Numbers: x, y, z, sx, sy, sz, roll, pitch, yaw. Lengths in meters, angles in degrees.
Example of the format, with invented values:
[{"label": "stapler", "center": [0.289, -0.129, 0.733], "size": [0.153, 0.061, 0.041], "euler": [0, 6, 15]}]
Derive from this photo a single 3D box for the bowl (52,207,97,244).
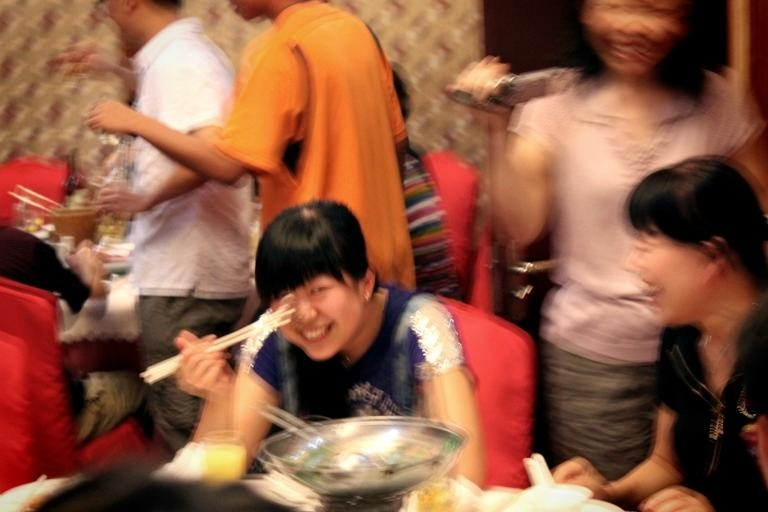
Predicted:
[{"label": "bowl", "center": [-1.466, -0.151, 3.024], "size": [0.228, 0.155, 0.226], "euler": [1, 5, 0]}]
